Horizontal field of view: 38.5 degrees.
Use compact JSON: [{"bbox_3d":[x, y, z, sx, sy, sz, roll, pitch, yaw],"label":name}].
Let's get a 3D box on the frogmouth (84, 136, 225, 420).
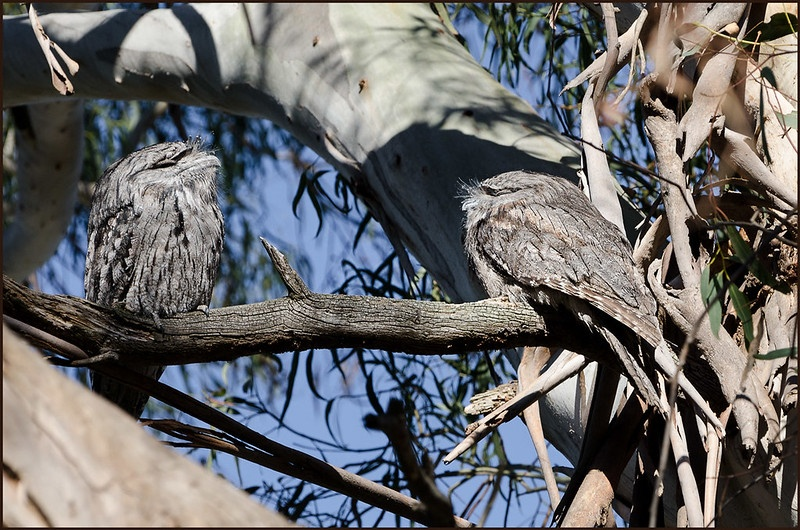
[{"bbox_3d":[-1.009,-0.176,4.808,0.551,0.787,0.384,6,-10,-16],"label":"frogmouth"}]
